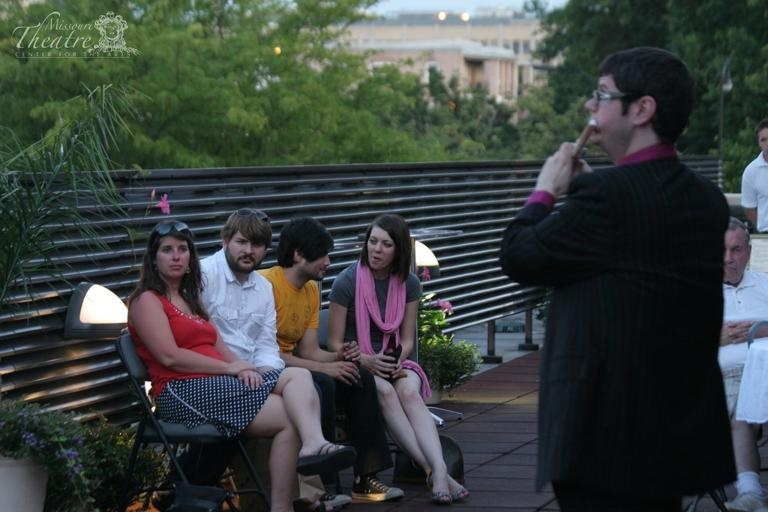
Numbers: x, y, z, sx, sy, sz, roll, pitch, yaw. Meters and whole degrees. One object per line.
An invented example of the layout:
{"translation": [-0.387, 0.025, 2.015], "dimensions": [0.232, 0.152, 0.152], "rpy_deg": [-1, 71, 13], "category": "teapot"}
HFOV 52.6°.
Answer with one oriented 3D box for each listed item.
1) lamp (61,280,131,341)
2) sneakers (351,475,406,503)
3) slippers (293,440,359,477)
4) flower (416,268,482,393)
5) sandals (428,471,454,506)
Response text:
{"translation": [-1.640, 0.324, 4.490], "dimensions": [0.545, 0.326, 0.194], "rpy_deg": [1, 5, 34], "category": "lamp"}
{"translation": [0.003, 1.381, 4.671], "dimensions": [0.367, 0.182, 0.132], "rpy_deg": [-2, -1, 16], "category": "sneakers"}
{"translation": [-0.288, 1.002, 3.877], "dimensions": [0.301, 0.140, 0.124], "rpy_deg": [-12, 35, -2], "category": "slippers"}
{"translation": [0.496, 0.831, 7.196], "dimensions": [0.831, 1.038, 0.780], "rpy_deg": [-2, -24, -4], "category": "flower"}
{"translation": [0.314, 1.360, 4.538], "dimensions": [0.183, 0.148, 0.161], "rpy_deg": [0, 5, 24], "category": "sandals"}
